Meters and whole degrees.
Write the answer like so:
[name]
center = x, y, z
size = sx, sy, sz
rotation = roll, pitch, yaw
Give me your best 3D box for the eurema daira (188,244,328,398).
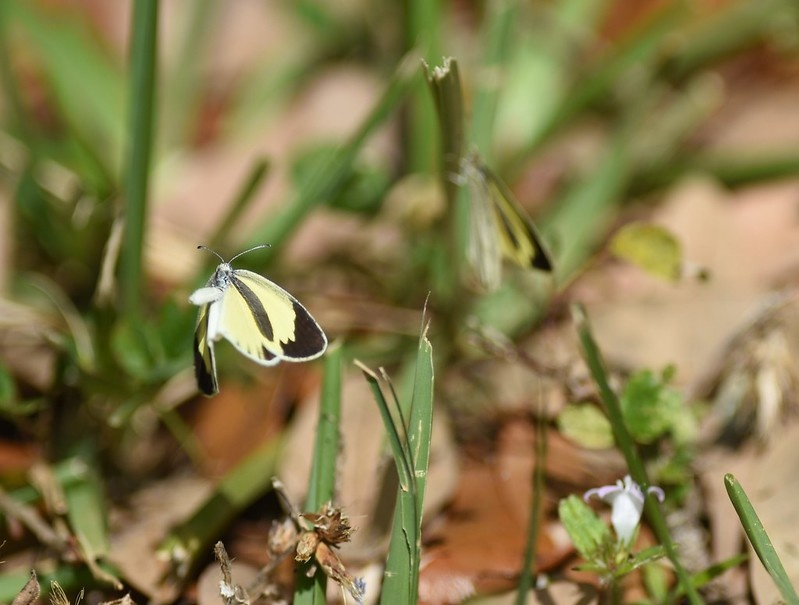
[eurema daira]
center = -0.219, 0.031, 1.395
size = 0.189, 0.226, 0.141
rotation = -14, 2, 21
